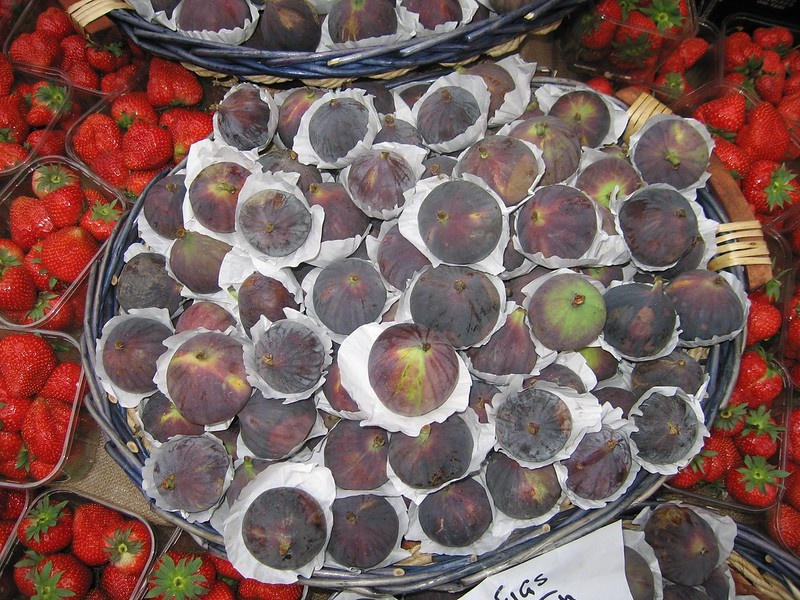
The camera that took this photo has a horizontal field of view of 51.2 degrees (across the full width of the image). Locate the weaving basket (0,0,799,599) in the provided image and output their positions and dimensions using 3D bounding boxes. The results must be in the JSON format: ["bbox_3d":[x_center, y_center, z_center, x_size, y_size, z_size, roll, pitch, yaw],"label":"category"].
[{"bbox_3d":[0.090,0.110,4.135,2.849,1.055,2.869,26,70,17],"label":"weaving basket"}]
